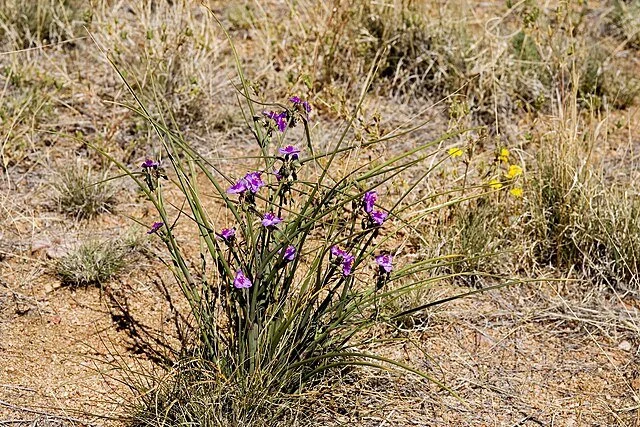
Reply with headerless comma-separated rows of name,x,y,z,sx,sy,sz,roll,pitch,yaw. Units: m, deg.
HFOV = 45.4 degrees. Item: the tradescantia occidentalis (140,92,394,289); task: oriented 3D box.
tradescantia occidentalis,-0.229,0.138,4.861,1.283,1.132,1.354,10,6,25
